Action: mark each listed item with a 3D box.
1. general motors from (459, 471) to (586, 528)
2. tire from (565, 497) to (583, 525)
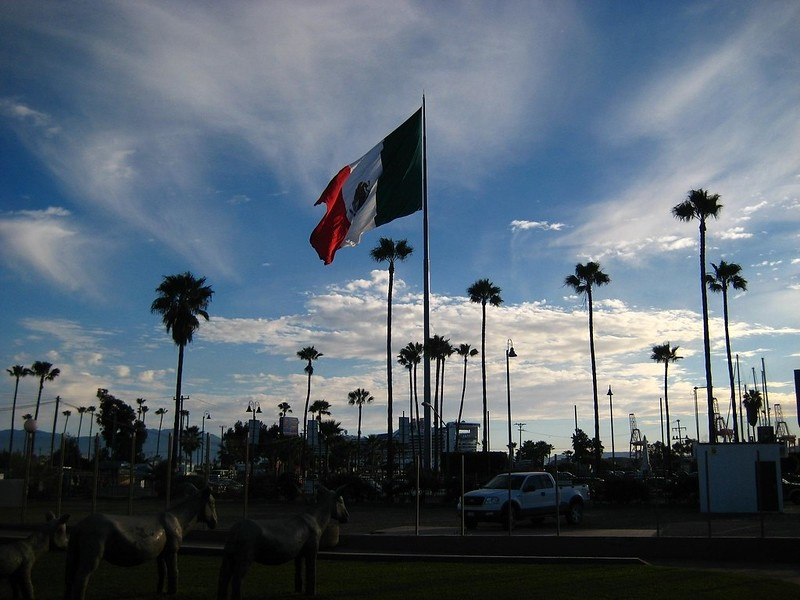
[{"bbox_3d":[4.818,8.017,27.624,5.009,2.135,2.790,10,-19,-41],"label":"general motors"},{"bbox_3d":[7.061,8.644,28.300,1.121,1.090,0.388,10,-15,-39],"label":"tire"}]
